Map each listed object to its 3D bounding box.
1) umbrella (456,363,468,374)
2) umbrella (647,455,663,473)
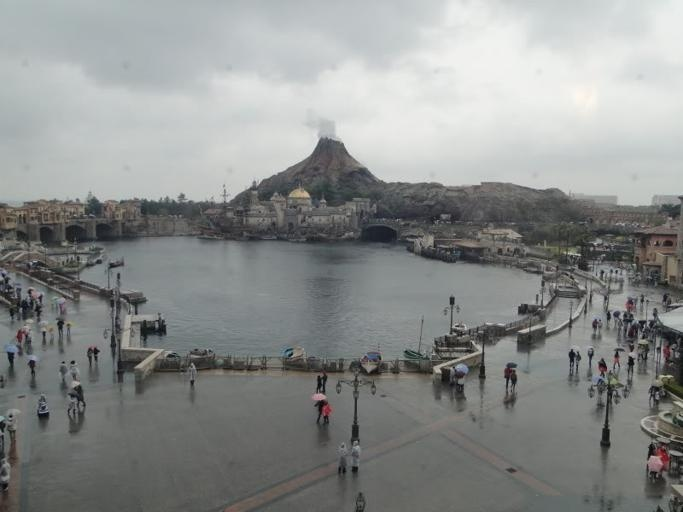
[{"bbox_3d":[6.767,6.454,40.891,0.457,0.393,0.747,6,10,29],"label":"umbrella"},{"bbox_3d":[14.286,9.548,33.193,0.843,0.829,0.467,2,7,23],"label":"umbrella"}]
